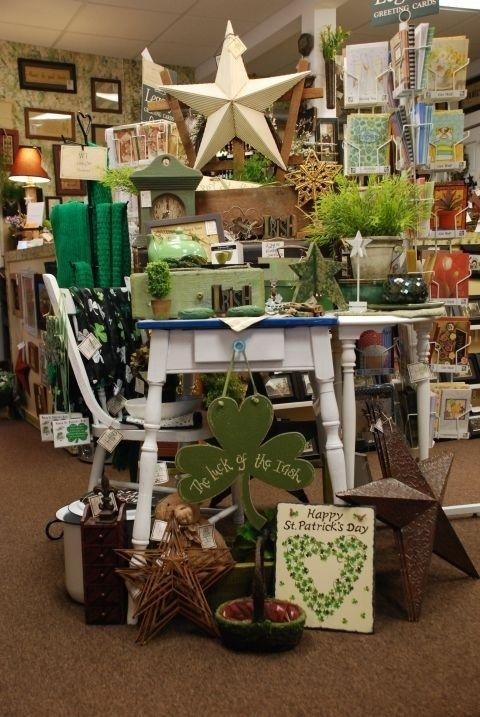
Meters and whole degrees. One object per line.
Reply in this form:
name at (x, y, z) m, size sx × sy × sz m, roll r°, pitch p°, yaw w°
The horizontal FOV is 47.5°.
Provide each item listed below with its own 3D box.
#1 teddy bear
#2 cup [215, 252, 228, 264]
teddy bear at (-0.134, 0.439, 1.475) m, size 0.181 × 0.160 × 0.153 m, roll -2°, pitch 0°, yaw -9°
cup at (-0.051, -0.292, 1.581) m, size 0.033 × 0.027 × 0.032 m, roll -1°, pitch 11°, yaw 0°
